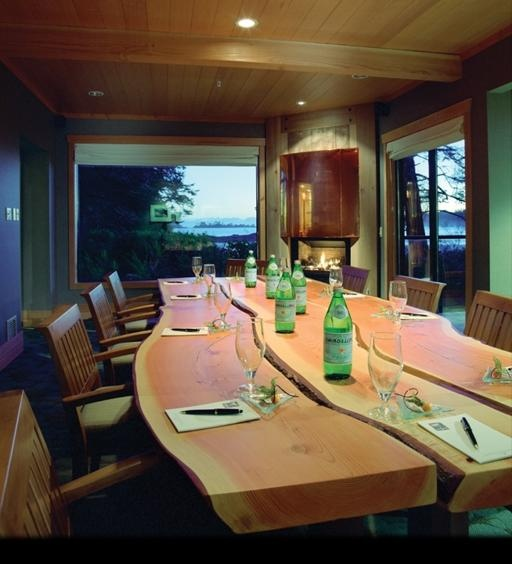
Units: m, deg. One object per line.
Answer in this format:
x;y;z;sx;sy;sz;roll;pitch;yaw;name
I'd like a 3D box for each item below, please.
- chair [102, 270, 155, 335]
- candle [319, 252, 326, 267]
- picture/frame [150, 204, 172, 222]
-1.178;0.182;4.078;0.529;0.650;0.419;-5;18;-5;chair
0.904;-0.310;6.106;0.087;0.211;0.088;3;10;19;candle
-1.513;-1.066;6.940;0.291;0.281;0.029;-6;1;-15;picture/frame
